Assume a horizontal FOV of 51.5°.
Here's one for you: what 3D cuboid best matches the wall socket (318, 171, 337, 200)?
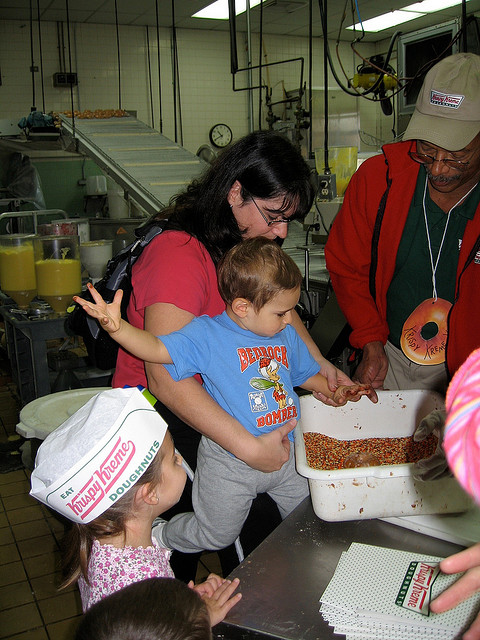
[{"bbox_3d":[0.649,-0.994,3.674,0.129,0.207,0.146,-4,10,9],"label":"wall socket"}]

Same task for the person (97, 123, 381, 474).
[{"bbox_3d":[-0.015,-0.048,1.327,0.664,0.880,0.628,-10,11,-19],"label":"person"}]

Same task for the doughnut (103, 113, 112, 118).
[{"bbox_3d":[-1.589,-2.442,5.943,0.091,0.036,0.086,-4,30,-12],"label":"doughnut"}]

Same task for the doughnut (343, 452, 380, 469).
[{"bbox_3d":[0.283,0.313,1.125,0.067,0.020,0.067,0,0,-1],"label":"doughnut"}]

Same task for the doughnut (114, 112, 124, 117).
[{"bbox_3d":[-1.460,-2.486,6.036,0.086,0.036,0.110,2,11,4],"label":"doughnut"}]

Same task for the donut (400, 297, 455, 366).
[{"bbox_3d":[0.623,0.035,1.613,0.167,0.197,0.077,26,33,25],"label":"donut"}]
